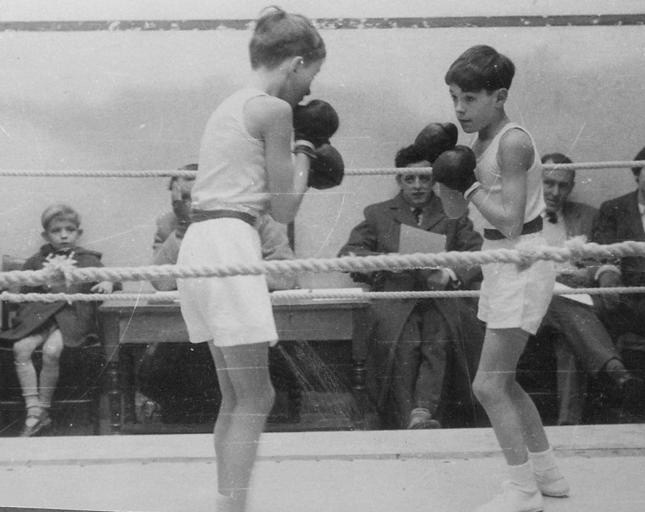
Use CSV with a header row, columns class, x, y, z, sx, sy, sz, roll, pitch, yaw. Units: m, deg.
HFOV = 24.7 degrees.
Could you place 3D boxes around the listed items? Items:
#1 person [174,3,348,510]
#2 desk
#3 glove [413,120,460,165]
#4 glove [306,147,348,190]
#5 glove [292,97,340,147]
class,x,y,z,sx,sy,sz,roll,pitch,yaw
person,-0.130,0.009,2.966,0.306,0.999,0.125,-7,11,-25
desk,-0.197,0.234,3.022,0.573,0.276,0.209,5,-12,-32
glove,0.211,-0.230,2.960,0.085,0.070,0.058,4,-2,26
glove,0.001,-0.172,2.948,0.080,0.081,0.035,5,18,15
glove,-0.005,-0.266,2.961,0.063,0.065,0.082,-21,-7,38
